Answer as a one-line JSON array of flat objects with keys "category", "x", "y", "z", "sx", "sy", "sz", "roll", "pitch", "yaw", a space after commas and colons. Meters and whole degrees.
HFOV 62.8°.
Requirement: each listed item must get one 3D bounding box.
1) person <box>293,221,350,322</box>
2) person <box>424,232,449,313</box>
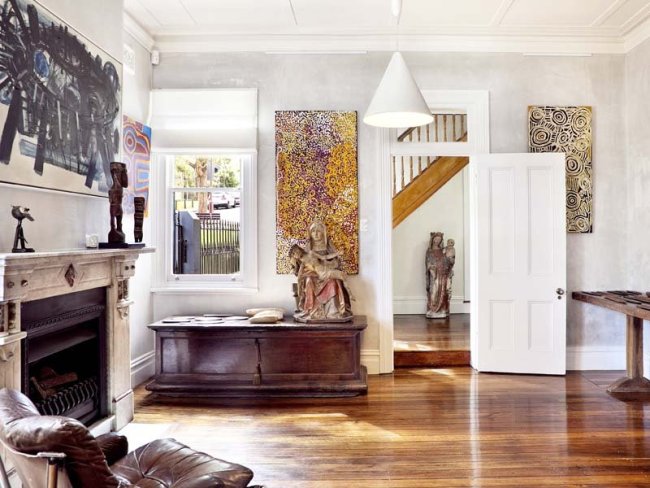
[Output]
[{"category": "person", "x": -0.047, "y": 0.276, "z": 5.485, "sx": 0.577, "sy": 0.975, "sz": 0.537, "roll": -6, "pitch": 12, "yaw": -27}, {"category": "person", "x": 1.640, "y": 0.469, "z": 7.855, "sx": 0.346, "sy": 1.221, "sz": 0.421, "roll": 2, "pitch": 11, "yaw": 11}]
